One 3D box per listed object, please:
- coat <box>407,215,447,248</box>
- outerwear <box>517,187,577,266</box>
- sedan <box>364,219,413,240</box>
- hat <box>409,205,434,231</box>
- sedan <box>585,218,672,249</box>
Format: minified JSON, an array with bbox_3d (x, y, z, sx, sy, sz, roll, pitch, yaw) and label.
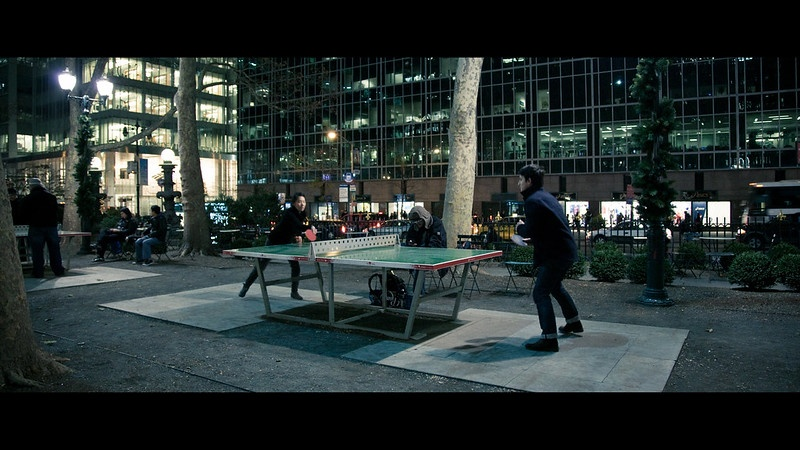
[{"bbox_3d":[0.643,0.253,16.442,1.021,0.846,0.822,12,-13,-42],"label":"coat"},{"bbox_3d":[3.445,0.137,13.965,1.396,1.923,1.669,-7,-15,28],"label":"outerwear"},{"bbox_3d":[-0.581,0.142,26.286,1.818,0.785,1.025,2,-3,4],"label":"sedan"},{"bbox_3d":[0.531,-0.187,16.216,0.721,0.650,0.392,-10,16,-33],"label":"hat"},{"bbox_3d":[9.648,0.404,25.450,3.669,1.247,1.793,3,1,21],"label":"sedan"}]
